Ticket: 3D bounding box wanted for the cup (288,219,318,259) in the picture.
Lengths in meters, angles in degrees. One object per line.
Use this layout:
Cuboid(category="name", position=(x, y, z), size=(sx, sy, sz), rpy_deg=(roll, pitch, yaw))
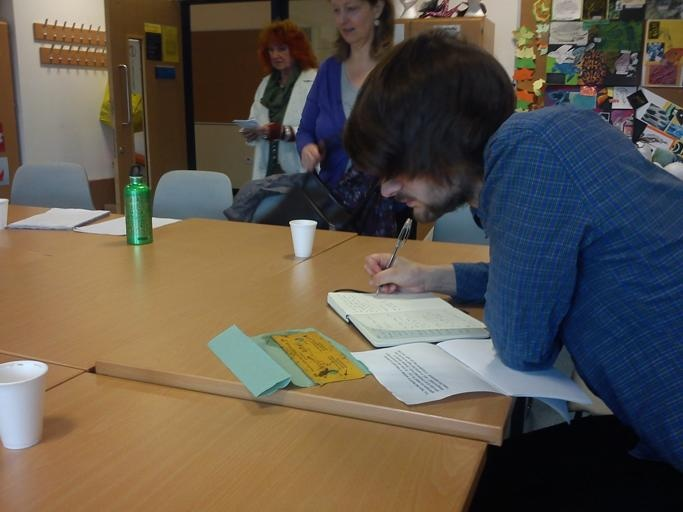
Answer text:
Cuboid(category="cup", position=(-0.117, -0.056, 1.835), size=(0.093, 0.106, 0.097), rpy_deg=(-2, 3, 0))
